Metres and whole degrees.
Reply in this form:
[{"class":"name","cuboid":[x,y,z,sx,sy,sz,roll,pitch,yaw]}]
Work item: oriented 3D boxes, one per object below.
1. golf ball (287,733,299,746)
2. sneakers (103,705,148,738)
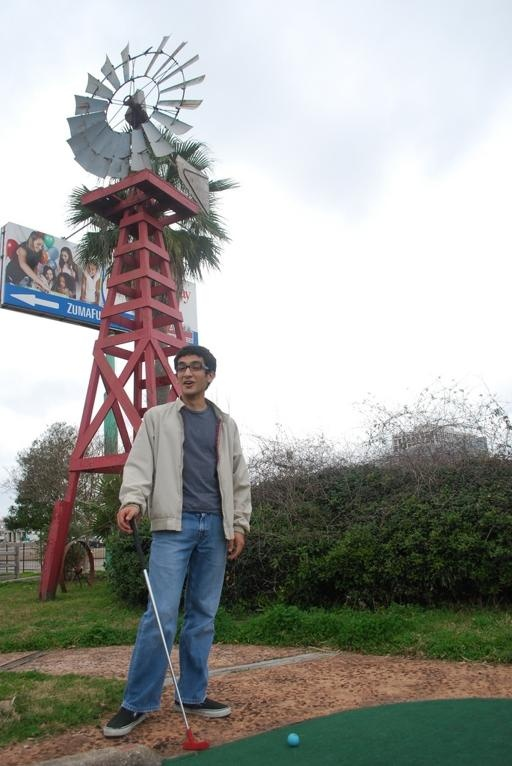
[{"class":"golf ball","cuboid":[0.160,1.480,2.497,0.039,0.046,0.040,5,-2,0]},{"class":"sneakers","cuboid":[-0.596,1.533,2.697,0.069,0.073,0.186,-7,-19,20]}]
